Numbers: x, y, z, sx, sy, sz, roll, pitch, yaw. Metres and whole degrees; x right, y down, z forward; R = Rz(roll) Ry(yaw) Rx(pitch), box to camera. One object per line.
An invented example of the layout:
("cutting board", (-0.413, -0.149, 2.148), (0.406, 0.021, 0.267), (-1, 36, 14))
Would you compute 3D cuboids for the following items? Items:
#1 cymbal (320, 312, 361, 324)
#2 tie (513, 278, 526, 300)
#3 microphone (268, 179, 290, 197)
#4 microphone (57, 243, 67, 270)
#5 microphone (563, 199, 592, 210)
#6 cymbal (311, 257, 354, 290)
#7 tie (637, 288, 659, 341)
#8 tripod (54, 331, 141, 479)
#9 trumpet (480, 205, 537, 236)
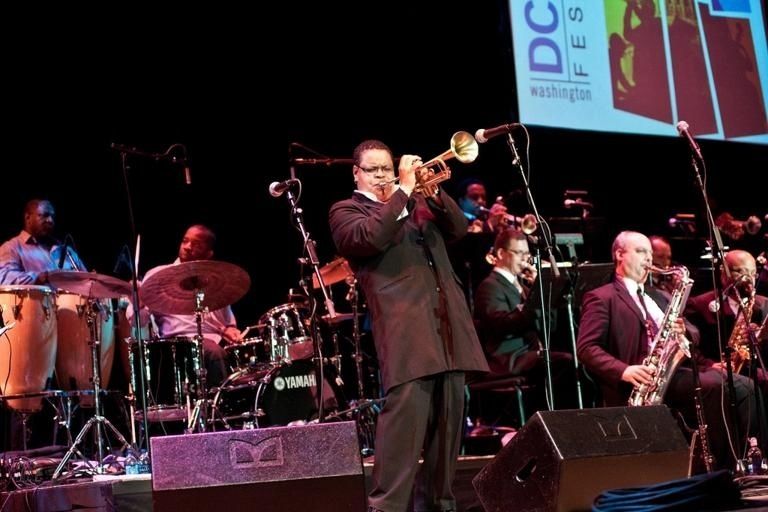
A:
("cymbal", (-0.489, 0.690, 8.164), (0.223, 0.060, 0.218), (5, -7, -28))
("tie", (1.501, 0.363, 8.012), (0.059, 0.216, 0.159), (-16, -15, 36))
("microphone", (-0.946, -0.626, 6.667), (0.160, 0.198, 0.402), (-4, -10, -8))
("microphone", (-3.467, 0.012, 7.908), (0.065, 0.298, 0.049), (11, -18, -7))
("microphone", (2.234, -0.607, 8.515), (0.210, 0.073, 0.209), (1, -9, 11))
("cymbal", (-0.549, 0.182, 8.189), (0.415, 0.097, 0.408), (2, -34, -43))
("tie", (2.393, 0.511, 6.636), (0.090, 0.458, 0.084), (-33, -62, 32))
("tripod", (-2.843, 1.362, 7.338), (0.779, 1.519, 1.639), (-2, -10, -20))
("trumpet", (1.394, -0.472, 8.828), (0.583, 0.310, 0.290), (8, -47, -39))
